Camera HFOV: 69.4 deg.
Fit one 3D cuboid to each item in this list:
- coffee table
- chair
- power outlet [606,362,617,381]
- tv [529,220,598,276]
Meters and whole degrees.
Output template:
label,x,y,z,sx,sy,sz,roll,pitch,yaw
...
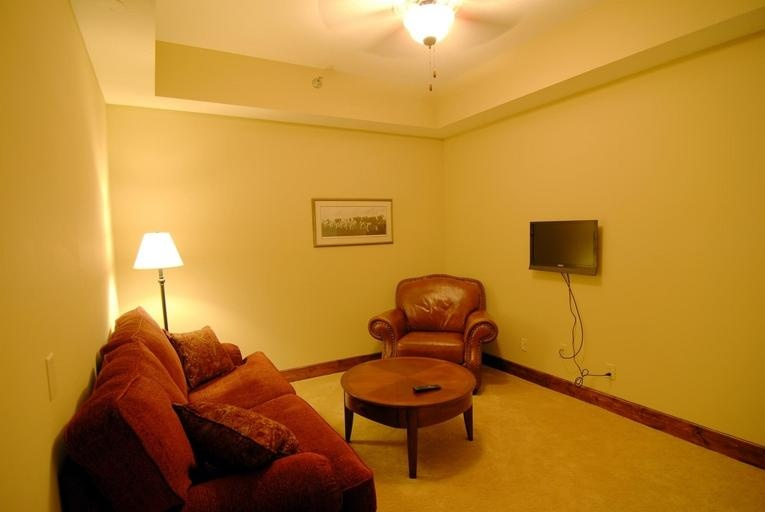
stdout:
label,x,y,z,sx,sy,sz,roll,pitch,yaw
coffee table,0.219,1.321,4.757,1.125,0.575,1.104,-9,12,-35
chair,0.561,0.833,5.852,1.247,1.203,0.829,0,2,14
power outlet,2.087,1.060,5.029,0.029,0.125,0.124,2,5,-20
tv,1.700,-0.081,5.249,0.639,0.504,0.039,3,10,39
